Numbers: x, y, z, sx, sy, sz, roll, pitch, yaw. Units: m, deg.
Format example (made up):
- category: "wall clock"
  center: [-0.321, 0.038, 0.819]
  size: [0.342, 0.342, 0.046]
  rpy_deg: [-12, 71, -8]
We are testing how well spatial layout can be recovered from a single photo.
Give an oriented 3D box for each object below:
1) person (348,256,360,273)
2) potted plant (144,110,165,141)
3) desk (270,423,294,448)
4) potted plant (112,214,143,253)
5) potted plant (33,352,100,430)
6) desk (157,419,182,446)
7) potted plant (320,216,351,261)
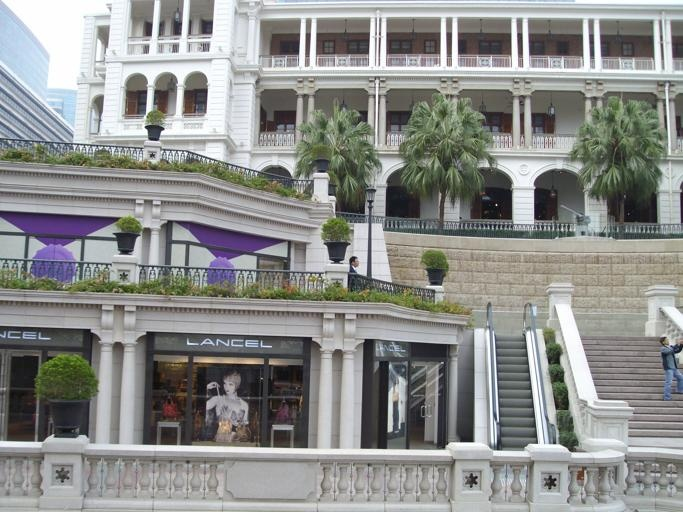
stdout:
- category: "person"
  center: [0.435, 0.443, 59.125]
  size: [0.528, 0.943, 0.953]
  rpy_deg: [-4, 4, -5]
- category: "potted plant"
  center: [-8.137, -5.596, 60.444]
  size: [0.701, 1.637, 1.009]
  rpy_deg: [1, -12, -7]
- category: "desk"
  center: [-2.443, 7.040, 54.960]
  size: [1.098, 1.064, 0.802]
  rpy_deg: [1, -1, -1]
- category: "potted plant"
  center: [-8.516, -0.744, 55.505]
  size: [1.040, 1.728, 0.842]
  rpy_deg: [1, -12, -9]
- category: "potted plant"
  center: [-9.656, 5.159, 49.618]
  size: [2.387, 3.120, 2.428]
  rpy_deg: [3, -13, -17]
- category: "desk"
  center: [-6.819, 7.040, 54.642]
  size: [0.893, 0.973, 0.909]
  rpy_deg: [4, -16, -17]
- category: "potted plant"
  center: [-0.323, -0.564, 55.983]
  size: [1.069, 1.973, 0.877]
  rpy_deg: [-1, -11, 1]
